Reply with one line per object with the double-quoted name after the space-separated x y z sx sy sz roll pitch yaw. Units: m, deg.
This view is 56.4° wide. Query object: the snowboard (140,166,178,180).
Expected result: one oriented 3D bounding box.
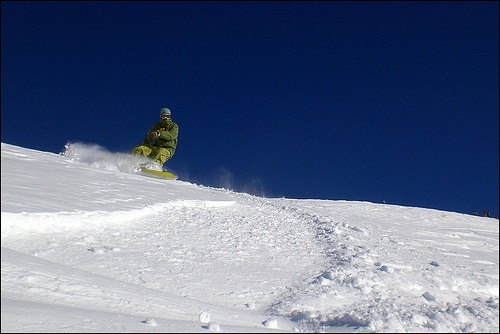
-3.388 0.249 16.743 1.658 0.374 0.226 12 -39 -39 "snowboard"
